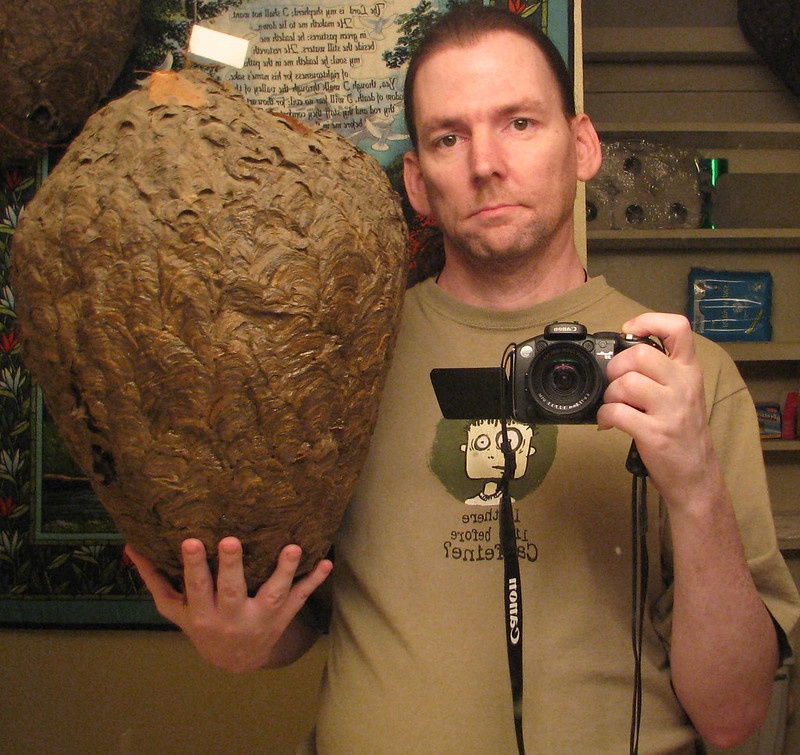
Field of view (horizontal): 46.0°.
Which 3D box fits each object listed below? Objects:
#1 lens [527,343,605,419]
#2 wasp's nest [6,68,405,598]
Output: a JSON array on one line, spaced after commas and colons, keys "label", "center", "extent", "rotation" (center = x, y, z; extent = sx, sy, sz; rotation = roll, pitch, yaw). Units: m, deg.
[{"label": "lens", "center": [0.307, 0.008, 1.735], "extent": [0.172, 0.127, 0.057], "rotation": [-3, -4, 9]}, {"label": "wasp's nest", "center": [-0.333, -0.091, 1.752], "extent": [0.567, 0.899, 0.638], "rotation": [20, 39, 36]}]
